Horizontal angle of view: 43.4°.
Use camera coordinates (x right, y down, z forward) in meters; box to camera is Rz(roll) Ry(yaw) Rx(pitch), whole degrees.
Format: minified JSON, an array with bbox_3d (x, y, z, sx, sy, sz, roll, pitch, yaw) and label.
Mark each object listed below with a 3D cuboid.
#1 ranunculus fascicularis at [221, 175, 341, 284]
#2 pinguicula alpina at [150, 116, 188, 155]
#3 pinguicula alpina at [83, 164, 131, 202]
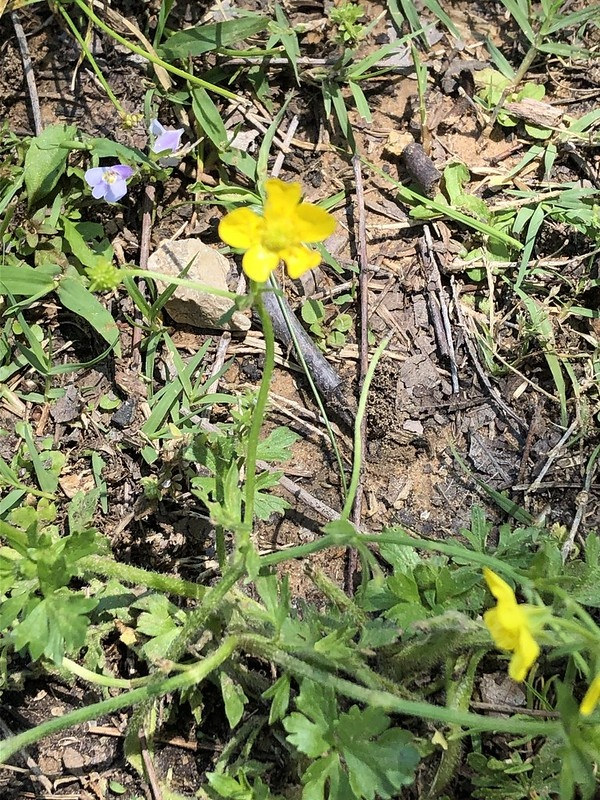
[{"bbox_3d":[-0.054,-0.366,1.757,0.256,0.246,0.090,4,-2,-2],"label":"ranunculus fascicularis"},{"bbox_3d":[-0.503,-1.038,2.896,0.142,0.069,0.164,28,43,-11],"label":"pinguicula alpina"},{"bbox_3d":[-0.707,-0.815,2.817,0.143,0.153,0.075,-20,-5,-10],"label":"pinguicula alpina"}]
